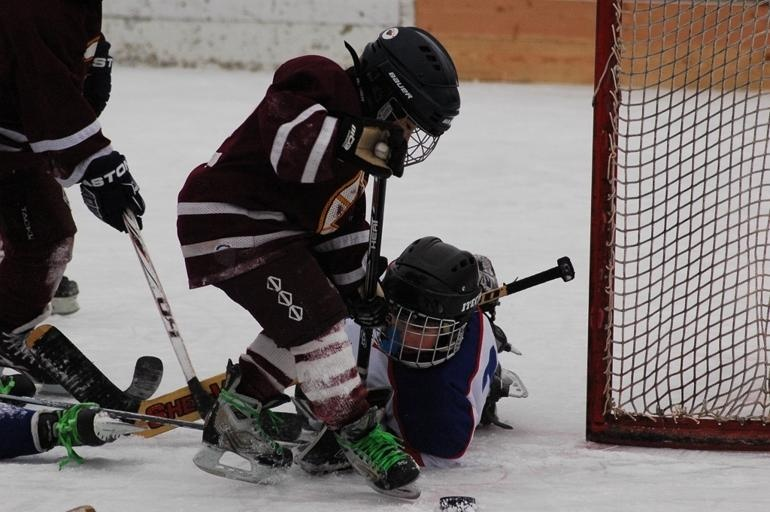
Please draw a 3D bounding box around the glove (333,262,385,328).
[{"bbox_3d":[-0.097,0.160,4.212,0.246,0.123,0.325,-27,13,-2],"label":"glove"}]

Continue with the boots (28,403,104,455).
[{"bbox_3d":[-1.205,0.635,4.174,0.226,0.091,0.137,4,61,-10],"label":"boots"}]

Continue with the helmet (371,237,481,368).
[{"bbox_3d":[0.199,0.167,4.499,0.387,0.456,0.480,18,28,23],"label":"helmet"}]

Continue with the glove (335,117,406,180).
[{"bbox_3d":[-0.042,-0.387,4.020,0.252,0.091,0.173,26,42,-13],"label":"glove"}]
